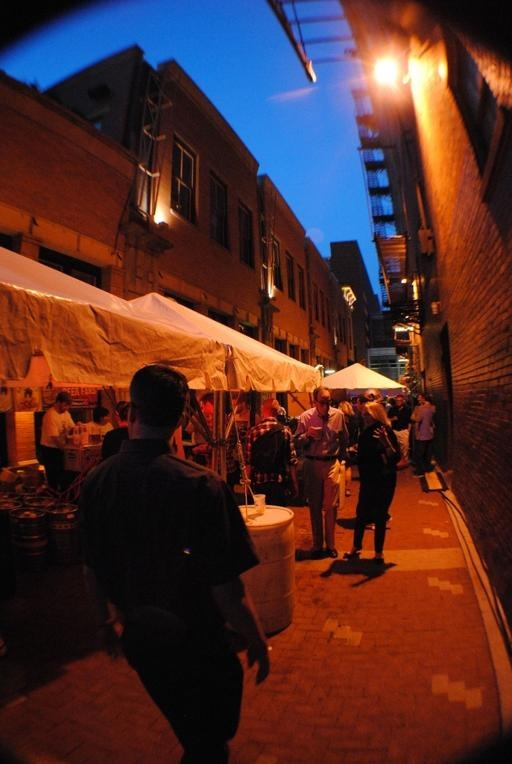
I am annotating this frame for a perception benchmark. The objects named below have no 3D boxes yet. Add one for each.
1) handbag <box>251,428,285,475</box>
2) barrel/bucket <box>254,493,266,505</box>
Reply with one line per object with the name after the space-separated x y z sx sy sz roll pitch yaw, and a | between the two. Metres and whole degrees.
0.133 0.761 5.841 0.400 0.563 0.288 1 -12 -3 | handbag
0.030 1.001 4.461 0.103 0.132 0.129 -3 -13 9 | barrel/bucket
